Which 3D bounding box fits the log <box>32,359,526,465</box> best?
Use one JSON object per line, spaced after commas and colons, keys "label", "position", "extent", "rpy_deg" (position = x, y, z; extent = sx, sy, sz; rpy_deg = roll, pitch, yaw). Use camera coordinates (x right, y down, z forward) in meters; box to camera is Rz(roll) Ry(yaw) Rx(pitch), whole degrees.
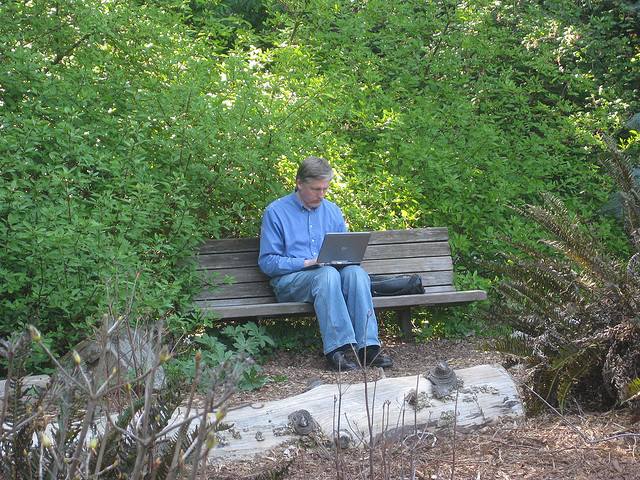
{"label": "log", "position": [0.268, 1.085, 4.597], "extent": [2.114, 0.476, 0.508], "rpy_deg": [-4, -9, -19]}

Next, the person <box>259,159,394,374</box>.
{"label": "person", "position": [0.071, 0.176, 6.276], "extent": [0.832, 1.763, 1.238], "rpy_deg": [-2, 1, -41]}
